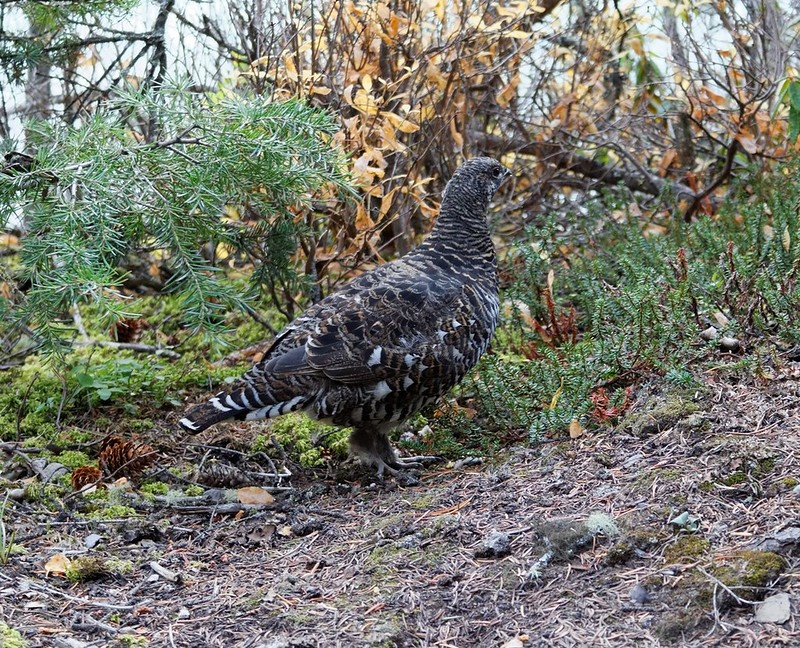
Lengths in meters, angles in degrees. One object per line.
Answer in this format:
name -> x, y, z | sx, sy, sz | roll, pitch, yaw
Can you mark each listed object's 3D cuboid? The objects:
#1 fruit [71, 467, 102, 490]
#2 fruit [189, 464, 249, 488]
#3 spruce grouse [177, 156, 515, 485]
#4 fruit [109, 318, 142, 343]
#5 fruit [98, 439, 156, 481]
fruit -> -1.816, 0.883, 5.648 | 0.172, 0.122, 0.125 | 14, 6, -3
fruit -> -1.070, 0.905, 5.739 | 0.413, 0.108, 0.151 | 6, 29, 4
spruce grouse -> -0.361, 0.013, 6.067 | 2.997, 1.741, 1.059 | -5, 4, -22
fruit -> -2.090, 0.056, 7.341 | 0.208, 0.164, 0.185 | -1, -19, -36
fruit -> -1.595, 0.812, 5.811 | 0.380, 0.184, 0.226 | 5, -28, -1
